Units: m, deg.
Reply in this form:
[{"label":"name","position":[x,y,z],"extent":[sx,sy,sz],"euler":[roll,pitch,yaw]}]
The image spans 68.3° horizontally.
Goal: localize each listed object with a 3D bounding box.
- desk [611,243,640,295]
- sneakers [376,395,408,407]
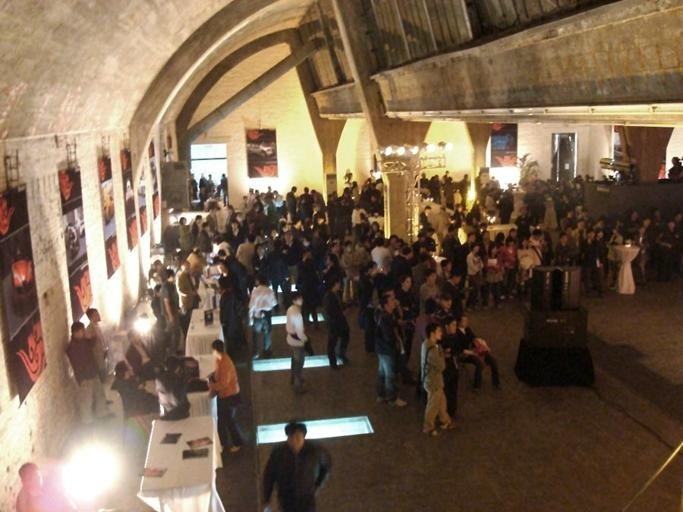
[{"label":"desk","position":[6.964,0.294,12.371],"extent":[0.530,1.060,0.587],"euler":[1,10,18]},{"label":"sneakers","position":[0.782,2.223,7.920],"extent":[0.436,0.208,0.169],"euler":[0,7,5]}]
